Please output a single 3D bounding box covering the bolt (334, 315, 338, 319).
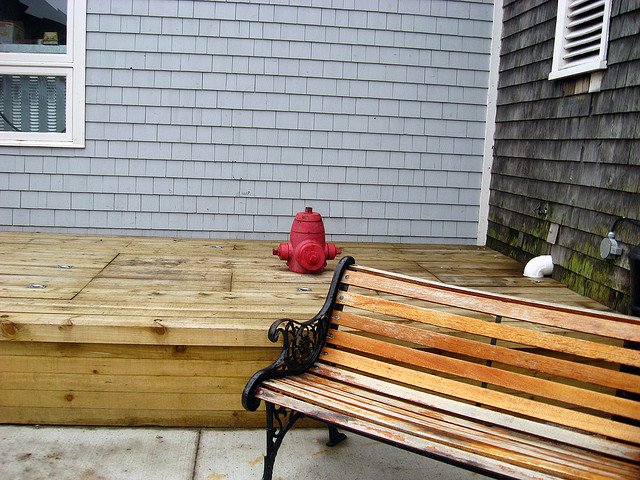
[{"bbox_3d":[0.085,0.407,3.054,0.021,0.016,0.004,3,-4,-9],"label":"bolt"}]

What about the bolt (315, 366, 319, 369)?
[{"bbox_3d":[-0.018,0.665,3.009,0.019,0.012,0.013,0,10,-5],"label":"bolt"}]

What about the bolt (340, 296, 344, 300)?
[{"bbox_3d":[0.114,0.307,3.050,0.026,0.020,0.005,-5,-7,2],"label":"bolt"}]

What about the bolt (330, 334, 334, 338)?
[{"bbox_3d":[0.061,0.509,3.057,0.020,0.016,0.005,-3,-1,-8],"label":"bolt"}]

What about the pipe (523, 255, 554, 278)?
[{"bbox_3d":[1.783,0.225,4.789,0.244,0.139,0.158,-1,2,-1],"label":"pipe"}]

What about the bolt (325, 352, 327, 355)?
[{"bbox_3d":[0.030,0.602,3.053,0.015,0.010,0.013,2,-14,-26],"label":"bolt"}]

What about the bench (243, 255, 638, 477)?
[{"bbox_3d":[0.580,0.650,2.680,1.662,0.951,0.691,6,12,20],"label":"bench"}]

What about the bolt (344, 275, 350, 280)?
[{"bbox_3d":[0.142,0.198,3.056,0.029,0.022,0.006,0,-10,4],"label":"bolt"}]

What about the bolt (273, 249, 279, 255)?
[{"bbox_3d":[-0.350,0.096,4.559,0.069,0.036,0.033,0,-1,-2],"label":"bolt"}]

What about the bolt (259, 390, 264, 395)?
[{"bbox_3d":[-0.276,0.723,2.736,0.022,0.011,0.026,-1,10,-13],"label":"bolt"}]

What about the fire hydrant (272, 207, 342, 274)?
[{"bbox_3d":[-0.086,0.019,4.555,0.631,0.458,0.360,-3,14,-26],"label":"fire hydrant"}]
